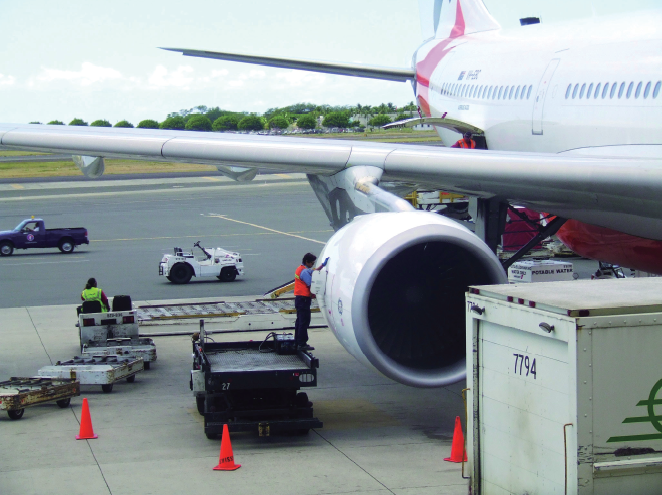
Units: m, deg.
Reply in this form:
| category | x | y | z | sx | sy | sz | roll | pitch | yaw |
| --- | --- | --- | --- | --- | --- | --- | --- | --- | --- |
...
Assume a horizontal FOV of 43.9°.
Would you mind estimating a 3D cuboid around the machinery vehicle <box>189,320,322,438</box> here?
| category | x | y | z | sx | sy | sz | roll | pitch | yaw |
| --- | --- | --- | --- | --- | --- | --- | --- | --- | --- |
| machinery vehicle | -1.420 | 2.551 | 15.011 | 2.153 | 1.444 | 2.451 | -2 | 9 | -10 |

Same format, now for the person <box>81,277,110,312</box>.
| category | x | y | z | sx | sy | sz | roll | pitch | yaw |
| --- | --- | --- | --- | --- | --- | --- | --- | --- | --- |
| person | -5.701 | 1.186 | 19.836 | 0.652 | 0.911 | 0.575 | -7 | 7 | -11 |

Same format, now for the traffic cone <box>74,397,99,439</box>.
| category | x | y | z | sx | sy | sz | roll | pitch | yaw |
| --- | --- | --- | --- | --- | --- | --- | --- | --- | --- |
| traffic cone | -4.374 | 2.957 | 14.598 | 0.339 | 0.701 | 0.807 | -4 | 10 | -17 |
